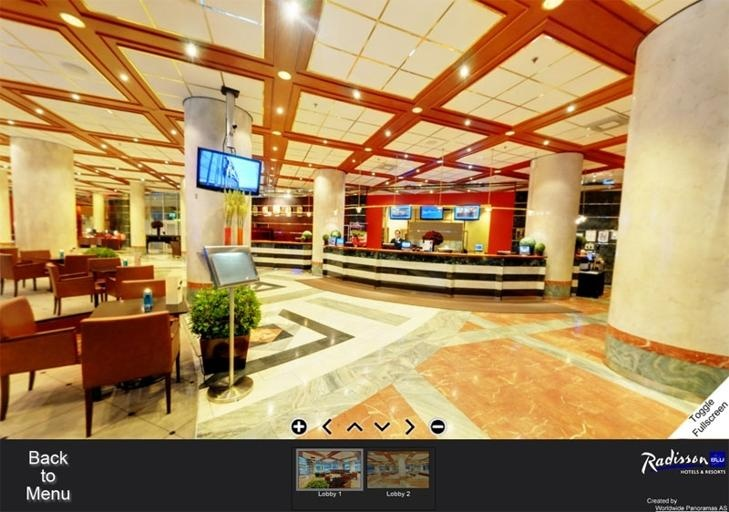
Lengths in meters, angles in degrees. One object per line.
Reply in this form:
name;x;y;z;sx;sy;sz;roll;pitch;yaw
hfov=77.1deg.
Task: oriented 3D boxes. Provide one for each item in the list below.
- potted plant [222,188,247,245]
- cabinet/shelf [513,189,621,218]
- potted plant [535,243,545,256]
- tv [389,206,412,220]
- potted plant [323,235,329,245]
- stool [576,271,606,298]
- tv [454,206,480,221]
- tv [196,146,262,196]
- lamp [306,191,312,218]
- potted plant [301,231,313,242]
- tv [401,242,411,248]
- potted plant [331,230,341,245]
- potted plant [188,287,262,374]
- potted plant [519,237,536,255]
potted plant;-2.281;-0.643;8.175;0.434;0.964;0.956;0;6;-15
cabinet/shelf;6.046;-1.578;13.904;2.963;0.857;0.330;6;7;37
potted plant;3.920;-0.109;10.198;0.261;0.264;0.263;-1;2;32
tv;1.089;-1.267;13.301;0.499;0.387;1.240;3;6;9
potted plant;-1.050;-0.410;12.468;0.138;0.292;0.337;1;6;-8
stool;5.234;0.672;10.644;0.549;0.598;0.344;3;6;17
tv;2.625;-1.107;11.803;0.568;0.376;0.753;2;6;0
tv;-2.395;-1.446;7.964;1.132;0.599;0.076;1;7;-40
lamp;-2.118;-1.960;17.694;0.173;0.875;0.518;0;6;-16
potted plant;-1.707;-0.590;13.587;0.396;0.431;0.418;0;-3;2
tv;0.986;-0.230;10.756;0.211;0.180;0.109;0;7;6
potted plant;-0.755;-0.447;12.194;0.402;0.498;0.283;0;-6;0
potted plant;-2.124;1.123;6.783;1.358;1.376;1.141;0;-1;-26
potted plant;3.620;-0.200;10.214;0.361;0.369;0.347;1;-5;-14
